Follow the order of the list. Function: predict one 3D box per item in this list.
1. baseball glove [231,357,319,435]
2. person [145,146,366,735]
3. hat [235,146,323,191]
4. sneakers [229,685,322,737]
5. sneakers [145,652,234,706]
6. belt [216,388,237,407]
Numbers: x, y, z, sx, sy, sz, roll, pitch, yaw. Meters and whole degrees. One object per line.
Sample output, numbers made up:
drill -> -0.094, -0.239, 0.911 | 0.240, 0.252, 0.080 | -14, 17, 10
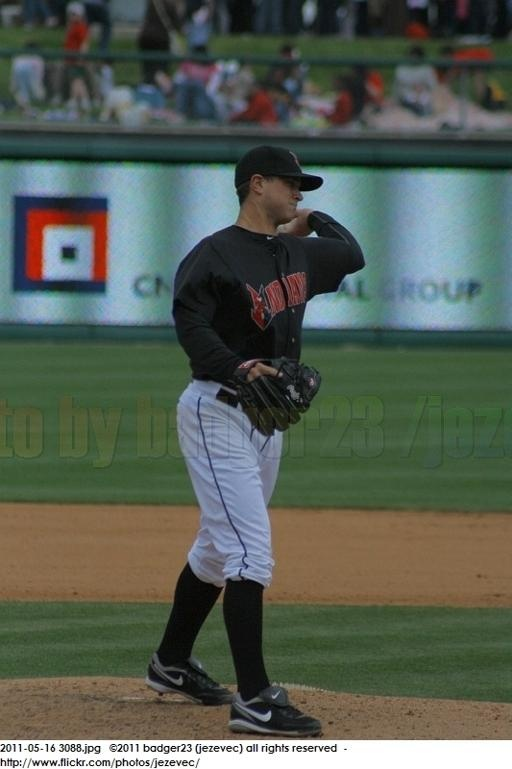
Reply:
baseball glove -> 0.080, 0.042, 7.393 | 0.428, 0.261, 0.600 | -1, -2, -13
person -> 0.024, 0.387, 7.257 | 0.721, 2.138, 0.749 | 9, 12, 41
hat -> 0.100, -0.966, 7.367 | 0.331, 0.176, 0.209 | -5, 7, 6
sneakers -> 0.067, 1.430, 7.106 | 0.442, 0.225, 0.172 | 2, -4, 2
sneakers -> -0.309, 1.354, 7.434 | 0.460, 0.218, 0.166 | 15, 1, 4
belt -> -0.129, 0.064, 7.140 | 0.066, 0.064, 0.037 | 7, 11, 12
